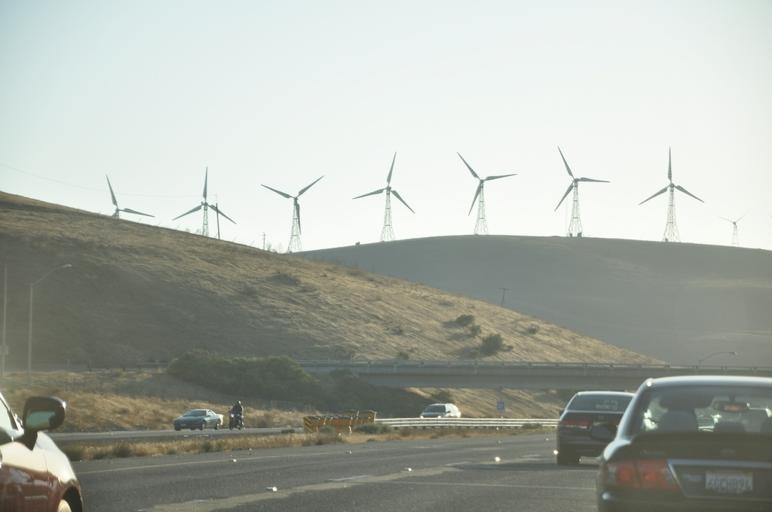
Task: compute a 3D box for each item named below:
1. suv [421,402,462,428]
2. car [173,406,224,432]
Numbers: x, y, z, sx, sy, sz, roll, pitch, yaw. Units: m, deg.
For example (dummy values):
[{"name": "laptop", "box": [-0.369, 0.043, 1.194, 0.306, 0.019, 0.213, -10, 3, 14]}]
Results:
[{"name": "suv", "box": [5.620, 15.664, 131.649, 1.880, 1.456, 3.478, -3, -13, 22]}, {"name": "car", "box": [-17.024, 14.913, 120.333, 2.110, 1.913, 4.617, -5, -9, 39]}]
